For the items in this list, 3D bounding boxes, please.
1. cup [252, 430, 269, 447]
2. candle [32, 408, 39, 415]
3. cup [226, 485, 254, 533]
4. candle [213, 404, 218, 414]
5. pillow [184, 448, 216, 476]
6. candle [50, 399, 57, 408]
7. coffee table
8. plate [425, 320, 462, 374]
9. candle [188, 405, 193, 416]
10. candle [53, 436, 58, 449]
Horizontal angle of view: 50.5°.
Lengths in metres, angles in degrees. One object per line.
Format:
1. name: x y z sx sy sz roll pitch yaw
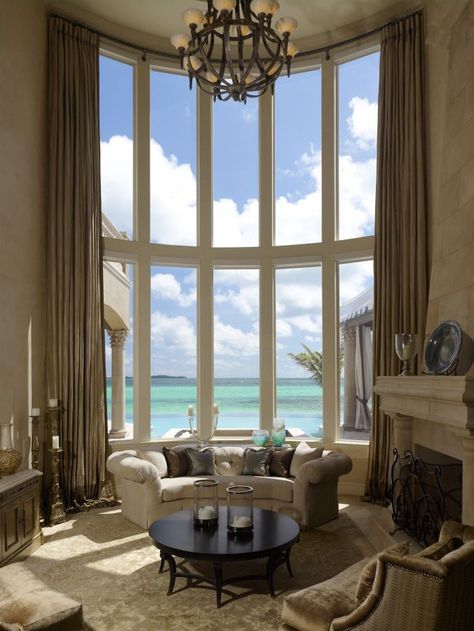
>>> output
1. cup: 0.259 1.312 5.425 0.161 0.162 0.176 0 -7 0
2. candle: -1.790 0.852 4.491 0.044 0.059 0.047 3 4 29
3. cup: 0.020 1.270 3.366 0.194 0.377 0.234 0 -6 1
4. candle: -0.211 0.954 5.132 0.029 0.117 0.177 -3 -2 -9
5. pillow: -0.344 1.420 4.911 0.211 0.255 0.108 1 -11 -11
6. candle: -1.739 0.833 4.814 0.077 0.087 0.076 3 -7 -40
7. coffee table: -0.066 1.554 3.285 0.987 0.320 0.960 -4 -2 -9
8. plate: 1.459 0.238 3.564 0.247 0.354 0.629 -4 -2 20
9. candle: -0.455 0.936 4.949 0.039 0.095 0.089 -2 -2 -17
10. candle: -1.692 1.190 4.686 0.048 0.121 0.065 -2 -2 -24
